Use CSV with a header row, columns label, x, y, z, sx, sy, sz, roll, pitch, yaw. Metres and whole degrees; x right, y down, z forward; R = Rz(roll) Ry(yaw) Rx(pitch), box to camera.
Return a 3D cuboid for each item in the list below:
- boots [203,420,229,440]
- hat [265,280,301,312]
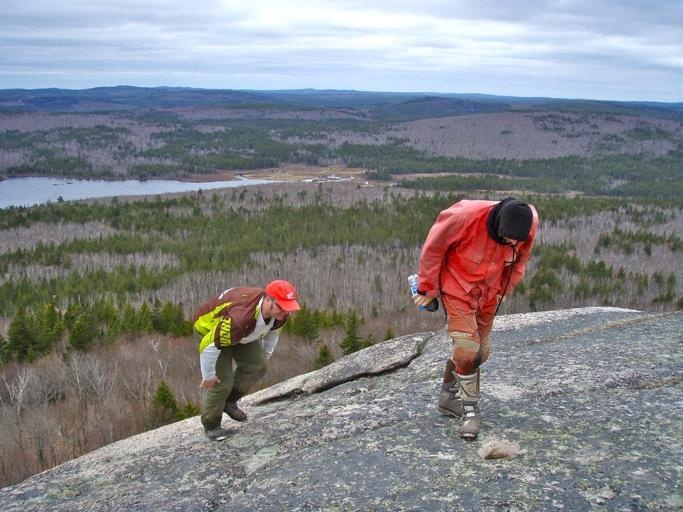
label,x,y,z,sx,sy,sz,roll,pitch,yaw
boots,-2.141,3.012,12.235,0.410,0.305,0.231,-13,-9,43
hat,-0.934,0.652,11.817,0.489,0.415,0.722,14,2,-41
